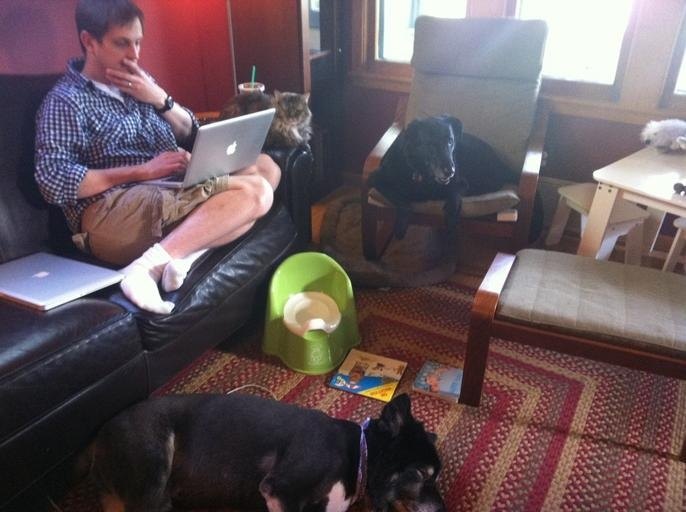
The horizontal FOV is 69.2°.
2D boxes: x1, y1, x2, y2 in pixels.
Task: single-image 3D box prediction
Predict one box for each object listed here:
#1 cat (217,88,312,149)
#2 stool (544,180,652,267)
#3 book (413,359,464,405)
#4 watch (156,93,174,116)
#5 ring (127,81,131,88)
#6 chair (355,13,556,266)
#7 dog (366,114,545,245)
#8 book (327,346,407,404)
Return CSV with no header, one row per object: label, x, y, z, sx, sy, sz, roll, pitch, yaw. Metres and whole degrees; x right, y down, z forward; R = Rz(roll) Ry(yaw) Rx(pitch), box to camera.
cat,-0.383,-0.724,2.488,0.464,0.275,0.300,21,39,14
stool,1.291,-0.216,2.614,0.337,0.377,0.429,-2,12,-27
book,0.392,0.488,2.044,0.220,0.247,0.044,-10,26,22
watch,-0.838,-0.708,2.355,0.076,0.031,0.080,-30,33,45
ring,-0.931,-0.745,2.161,0.016,0.024,0.006,6,7,-3
chair,0.656,-0.628,2.701,0.867,1.109,1.206,10,36,21
dog,0.515,-0.414,2.577,0.504,0.557,0.651,27,39,37
book,0.104,0.483,2.065,0.284,0.315,0.032,15,42,-11
